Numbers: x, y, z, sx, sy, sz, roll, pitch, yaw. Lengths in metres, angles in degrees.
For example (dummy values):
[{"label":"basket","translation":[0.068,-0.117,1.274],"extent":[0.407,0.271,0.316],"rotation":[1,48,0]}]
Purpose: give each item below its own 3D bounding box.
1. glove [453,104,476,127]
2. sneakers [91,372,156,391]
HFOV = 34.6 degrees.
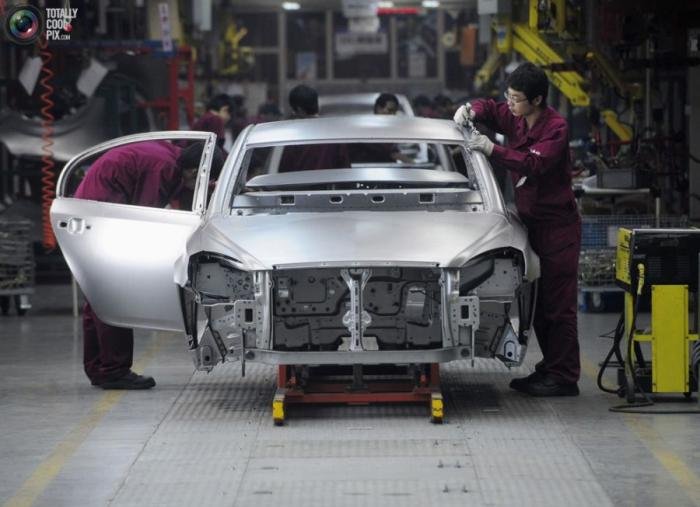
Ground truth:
[{"label":"glove","translation":[0.980,-1.175,9.680],"extent":[0.124,0.205,0.202],"rotation":[9,-10,-5]},{"label":"sneakers","translation":[-1.975,1.065,9.780],"extent":[0.496,0.179,0.186],"rotation":[-1,4,-5]}]
